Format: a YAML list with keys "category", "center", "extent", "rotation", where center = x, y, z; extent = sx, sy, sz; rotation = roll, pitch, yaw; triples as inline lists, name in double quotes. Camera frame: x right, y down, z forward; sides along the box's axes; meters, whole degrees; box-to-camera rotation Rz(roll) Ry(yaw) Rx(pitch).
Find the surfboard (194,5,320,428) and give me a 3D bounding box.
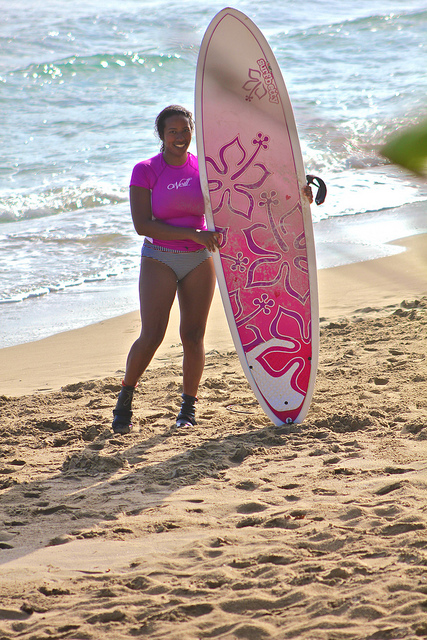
- category: "surfboard"
  center: [0.209, -0.459, 3.872]
  extent: [0.734, 1.954, 0.219]
  rotation: [6, 10, -4]
